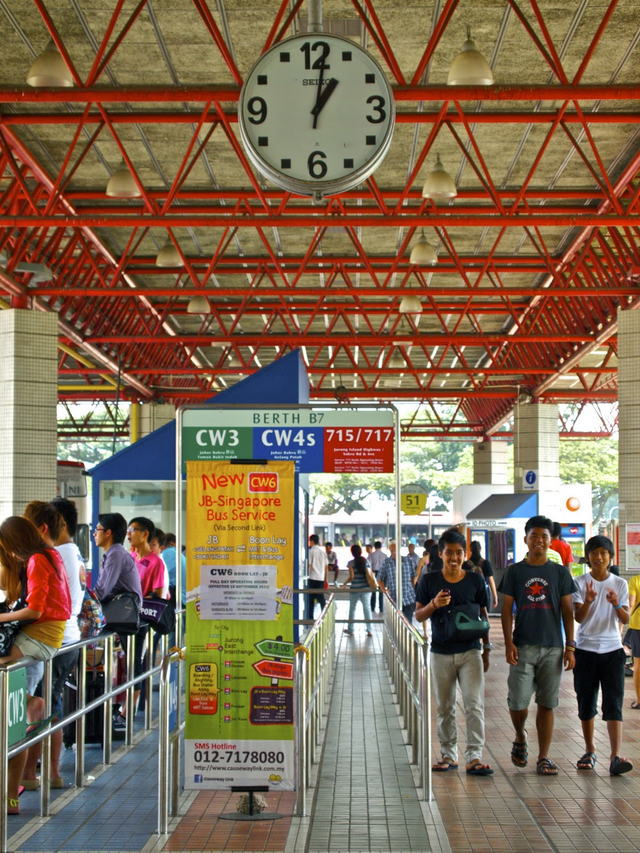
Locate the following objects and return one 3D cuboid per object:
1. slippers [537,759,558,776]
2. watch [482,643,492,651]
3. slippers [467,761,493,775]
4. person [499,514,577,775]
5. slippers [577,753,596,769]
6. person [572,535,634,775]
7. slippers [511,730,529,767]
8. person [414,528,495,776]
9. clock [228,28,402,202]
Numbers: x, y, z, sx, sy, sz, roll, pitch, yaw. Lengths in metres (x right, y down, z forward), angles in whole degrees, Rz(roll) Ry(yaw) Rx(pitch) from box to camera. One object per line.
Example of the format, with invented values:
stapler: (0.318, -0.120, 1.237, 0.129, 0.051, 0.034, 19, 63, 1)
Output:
slippers: (1.613, 2.406, 5.470, 0.073, 0.065, 0.162, -1, -20, 5)
watch: (1.222, 1.594, 5.638, 0.067, 0.047, 0.084, 1, -10, 4)
slippers: (1.114, 2.387, 5.416, 0.179, 0.102, 0.160, -2, -8, 7)
person: (1.603, 1.570, 5.597, 0.511, 1.830, 0.501, -4, -9, 17)
slippers: (1.984, 2.481, 5.758, 0.075, 0.069, 0.195, -3, -17, 11)
person: (2.065, 1.688, 5.769, 0.555, 1.511, 0.703, 0, -2, 6)
slippers: (1.496, 2.410, 5.839, 0.110, 0.125, 0.295, 0, -3, 4)
person: (0.995, 1.627, 5.777, 0.642, 1.598, 0.716, 0, -2, 4)
clock: (-0.016, -1.518, 3.802, 0.741, 0.787, 0.260, -2, -9, 5)
